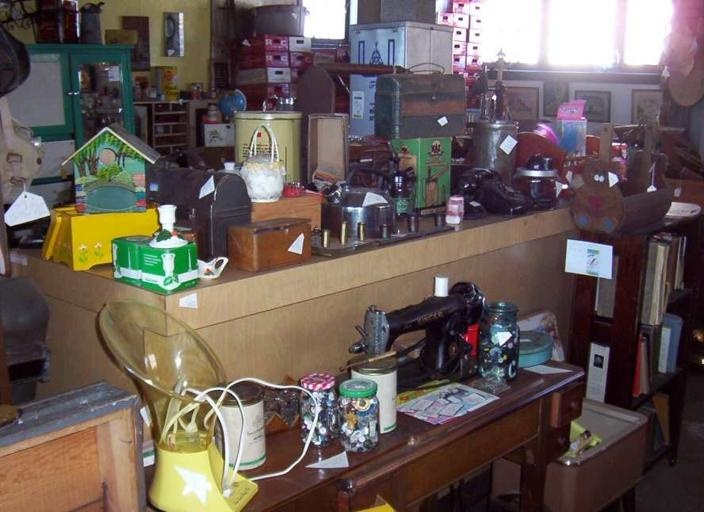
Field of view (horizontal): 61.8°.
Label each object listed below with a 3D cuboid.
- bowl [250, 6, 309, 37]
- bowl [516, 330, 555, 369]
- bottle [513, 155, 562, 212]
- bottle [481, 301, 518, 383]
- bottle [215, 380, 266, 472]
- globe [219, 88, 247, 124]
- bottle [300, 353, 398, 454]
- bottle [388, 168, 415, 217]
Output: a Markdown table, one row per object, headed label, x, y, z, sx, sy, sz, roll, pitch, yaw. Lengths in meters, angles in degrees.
| label | x | y | z | sx | sy | sz | roll | pitch | yaw |
| --- | --- | --- | --- | --- | --- | --- | --- | --- | --- |
| bowl | -0.843 | -2.764 | 6.933 | 0.587 | 0.347 | 0.286 | -1 | 13 | -2 |
| bowl | 0.734 | 0.376 | 2.396 | 0.157 | 0.063 | 0.157 | -1 | 16 | 0 |
| bottle | 1.037 | -0.430 | 3.338 | 0.263 | 0.291 | 0.263 | -12 | 18 | -19 |
| bottle | 0.558 | 0.328 | 2.235 | 0.142 | 0.279 | 0.111 | 3 | 14 | 14 |
| bottle | -0.316 | 0.518 | 1.725 | 0.164 | 0.194 | 0.167 | -2 | -6 | -26 |
| globe | -0.974 | -1.252 | 4.816 | 0.167 | 0.209 | 0.176 | -17 | -3 | -8 |
| bottle | 0.040 | 0.454 | 1.931 | 0.343 | 0.255 | 0.183 | -9 | 16 | -34 |
| bottle | 0.262 | -0.300 | 2.907 | 0.117 | 0.212 | 0.121 | -1 | 3 | 0 |
